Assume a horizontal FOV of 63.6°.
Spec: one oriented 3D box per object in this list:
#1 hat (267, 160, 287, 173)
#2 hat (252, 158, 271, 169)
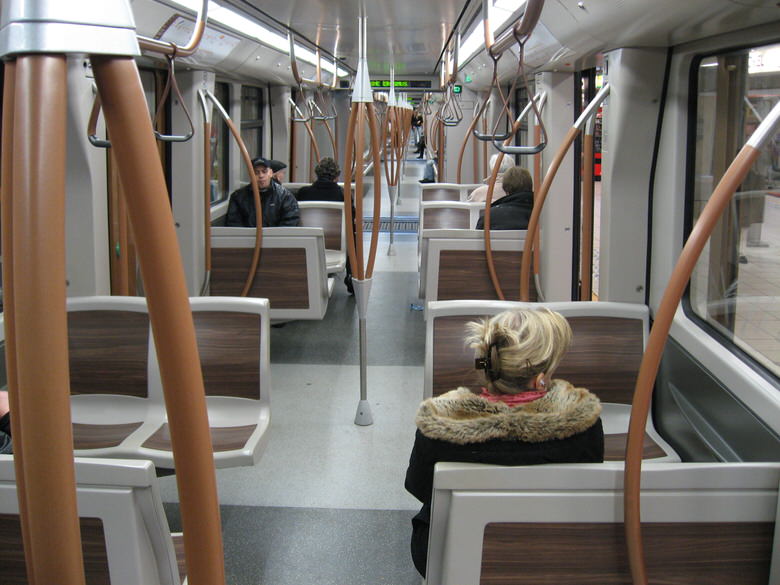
[{"bbox_3d":[-1.395,-1.507,7.597,0.247,0.098,0.193,10,20,28],"label":"hat"},{"bbox_3d":[-1.418,-1.432,6.910,0.172,0.115,0.228,-4,13,-17],"label":"hat"}]
